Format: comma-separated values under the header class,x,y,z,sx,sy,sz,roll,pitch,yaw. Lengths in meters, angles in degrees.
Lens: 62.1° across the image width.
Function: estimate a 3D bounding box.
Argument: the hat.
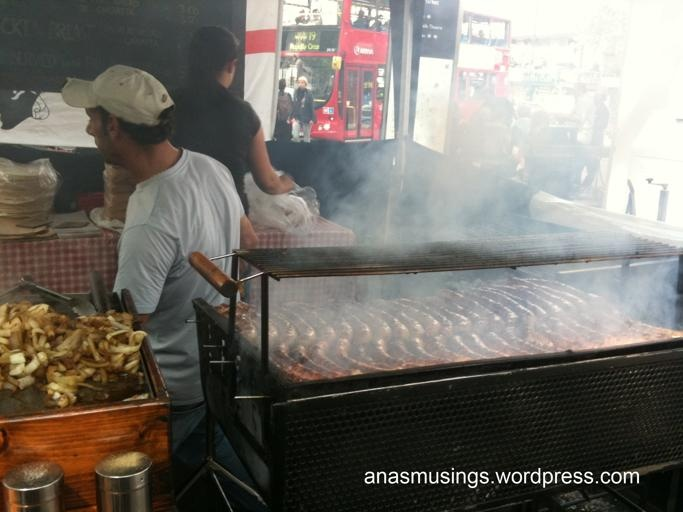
class,x,y,z,sx,sy,sz,roll,pitch,yaw
hat,-1.444,-1.043,3.625,0.618,0.249,0.404,13,33,-9
